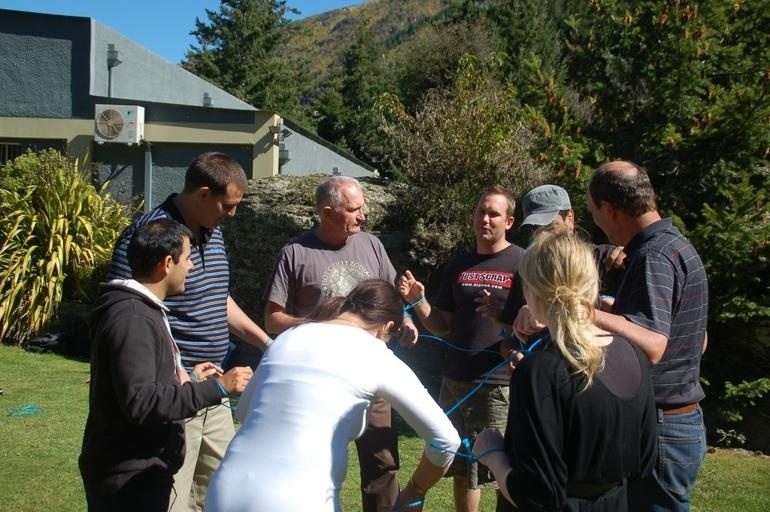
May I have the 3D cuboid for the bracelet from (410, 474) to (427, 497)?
[{"bbox_3d":[0.225,1.618,4.734,0.095,0.039,0.126,42,-16,-14],"label":"bracelet"}]

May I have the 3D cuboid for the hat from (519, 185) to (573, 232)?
[{"bbox_3d":[1.443,-0.456,6.153,0.433,0.330,0.645,-8,8,43],"label":"hat"}]
